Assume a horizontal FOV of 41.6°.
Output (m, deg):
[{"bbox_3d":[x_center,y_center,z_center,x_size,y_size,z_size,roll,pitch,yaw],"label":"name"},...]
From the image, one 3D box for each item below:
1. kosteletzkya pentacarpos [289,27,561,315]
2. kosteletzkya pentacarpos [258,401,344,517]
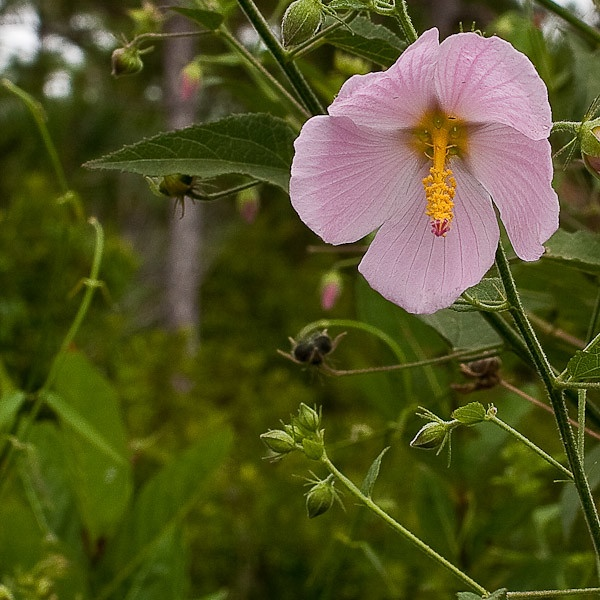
[{"bbox_3d":[0.141,-0.121,0.818,0.212,0.282,0.227,2,9,-40],"label":"kosteletzkya pentacarpos"},{"bbox_3d":[0.006,0.169,0.885,0.093,0.045,0.134,-22,52,-15],"label":"kosteletzkya pentacarpos"}]
